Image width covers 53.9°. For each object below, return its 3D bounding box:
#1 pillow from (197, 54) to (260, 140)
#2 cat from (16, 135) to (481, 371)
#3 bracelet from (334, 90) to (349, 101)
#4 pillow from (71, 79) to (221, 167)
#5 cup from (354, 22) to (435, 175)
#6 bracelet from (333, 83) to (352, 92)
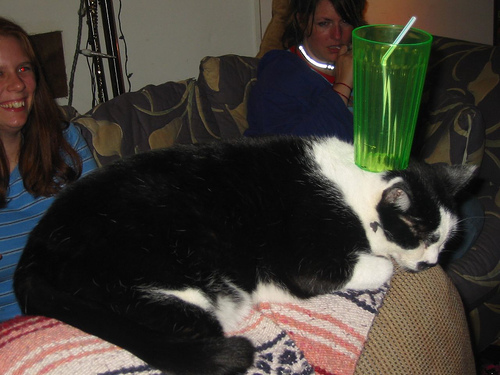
[{"bbox_3d":[-0.134,-0.433,2.184,0.407,0.148,0.455,-24,8,11],"label":"pillow"},{"bbox_3d":[0.011,0.123,1.184,0.782,0.301,0.587,-3,39,4],"label":"cat"},{"bbox_3d":[0.339,-0.326,1.770,0.051,0.035,0.035,-6,24,-15],"label":"bracelet"},{"bbox_3d":[-0.388,-0.268,1.917,0.561,0.234,0.197,-17,29,-33],"label":"pillow"},{"bbox_3d":[0.323,-0.211,1.169,0.170,0.313,0.168,-1,25,0],"label":"cup"},{"bbox_3d":[0.340,-0.362,1.780,0.046,0.013,0.051,29,35,5],"label":"bracelet"}]
